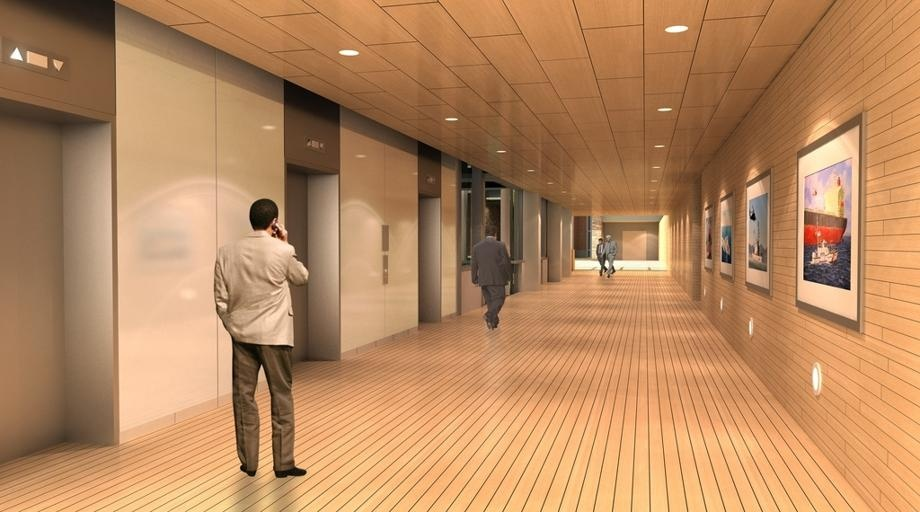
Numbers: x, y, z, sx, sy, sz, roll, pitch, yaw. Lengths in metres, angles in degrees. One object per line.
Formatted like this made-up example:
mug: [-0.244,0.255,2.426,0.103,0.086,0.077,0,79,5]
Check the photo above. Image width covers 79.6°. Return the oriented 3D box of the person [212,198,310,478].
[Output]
person: [-1.975,0.980,5.485,0.872,2.449,0.284,0,5,1]

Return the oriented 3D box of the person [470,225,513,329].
person: [0.670,0.467,12.344,0.827,2.310,0.752,0,5,1]

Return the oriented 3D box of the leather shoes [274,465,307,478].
leather shoes: [-1.672,2.159,5.520,0.339,0.136,0.113,-2,3,-13]
